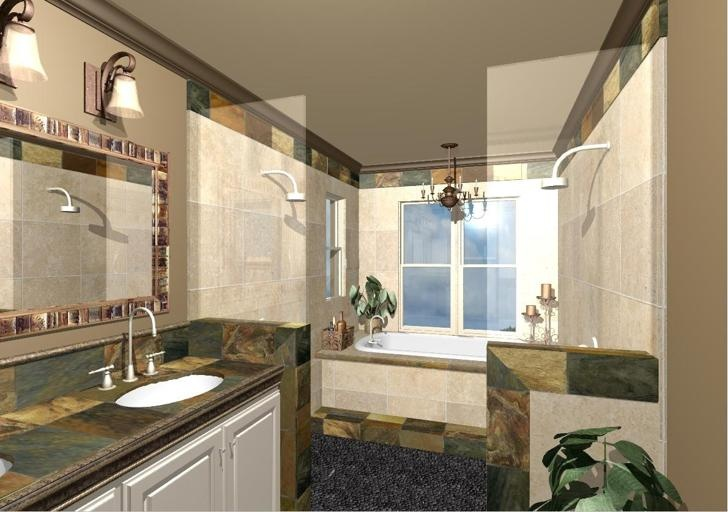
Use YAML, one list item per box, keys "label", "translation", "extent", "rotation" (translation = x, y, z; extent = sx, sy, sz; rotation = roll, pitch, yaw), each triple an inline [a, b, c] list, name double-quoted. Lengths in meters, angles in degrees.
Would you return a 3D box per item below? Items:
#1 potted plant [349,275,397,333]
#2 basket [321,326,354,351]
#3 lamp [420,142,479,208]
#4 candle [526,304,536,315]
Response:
- label: "potted plant"
  translation: [0.120, 0.543, 5.944]
  extent: [0.648, 0.615, 0.581]
  rotation: [-1, 2, -17]
- label: "basket"
  translation: [-0.290, 0.774, 5.090]
  extent: [0.189, 0.149, 0.344]
  rotation: [-1, -3, 19]
- label: "lamp"
  translation: [0.947, -0.807, 5.506]
  extent: [0.571, 0.559, 0.589]
  rotation: [0, -3, 1]
- label: "candle"
  translation: [0.923, 0.302, 2.826]
  extent: [0.055, 0.056, 0.054]
  rotation: [0, -1, 9]
